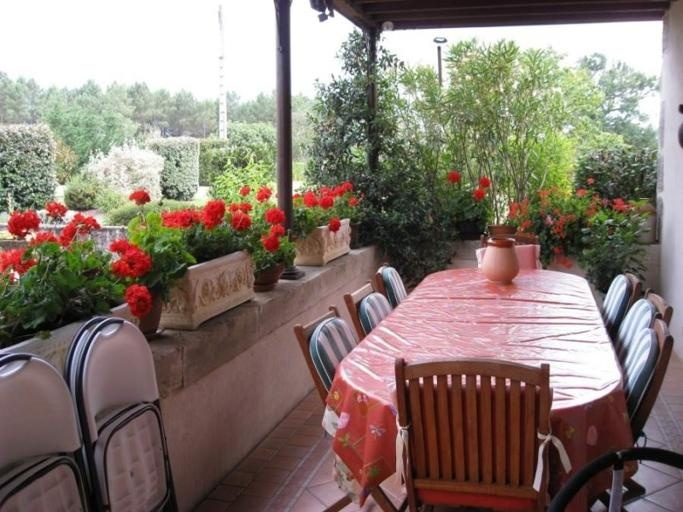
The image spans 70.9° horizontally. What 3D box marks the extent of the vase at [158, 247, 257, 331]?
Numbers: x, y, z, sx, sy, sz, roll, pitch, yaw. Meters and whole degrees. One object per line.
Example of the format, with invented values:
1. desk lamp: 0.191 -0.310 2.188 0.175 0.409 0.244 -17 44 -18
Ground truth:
1. vase: -0.818 0.182 2.896 0.237 0.333 0.828 -1 7 13

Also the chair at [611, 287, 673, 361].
1. chair: 1.578 0.397 2.497 0.210 0.321 0.224 9 2 -39

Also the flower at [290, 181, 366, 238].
1. flower: -0.157 -0.500 4.785 0.497 0.301 0.726 9 23 28

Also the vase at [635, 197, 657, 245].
1. vase: 3.605 -0.432 5.564 0.294 0.445 0.299 -20 20 -24

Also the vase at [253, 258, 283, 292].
1. vase: -0.529 0.140 3.417 0.172 0.142 0.185 -2 5 2

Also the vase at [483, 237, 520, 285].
1. vase: 1.157 0.024 3.483 0.278 0.309 0.265 -9 11 -34

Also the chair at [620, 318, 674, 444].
1. chair: 1.350 0.573 2.137 0.156 0.573 0.342 5 11 32

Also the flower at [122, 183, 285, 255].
1. flower: -0.772 -0.200 3.079 0.595 0.350 0.929 11 16 31
